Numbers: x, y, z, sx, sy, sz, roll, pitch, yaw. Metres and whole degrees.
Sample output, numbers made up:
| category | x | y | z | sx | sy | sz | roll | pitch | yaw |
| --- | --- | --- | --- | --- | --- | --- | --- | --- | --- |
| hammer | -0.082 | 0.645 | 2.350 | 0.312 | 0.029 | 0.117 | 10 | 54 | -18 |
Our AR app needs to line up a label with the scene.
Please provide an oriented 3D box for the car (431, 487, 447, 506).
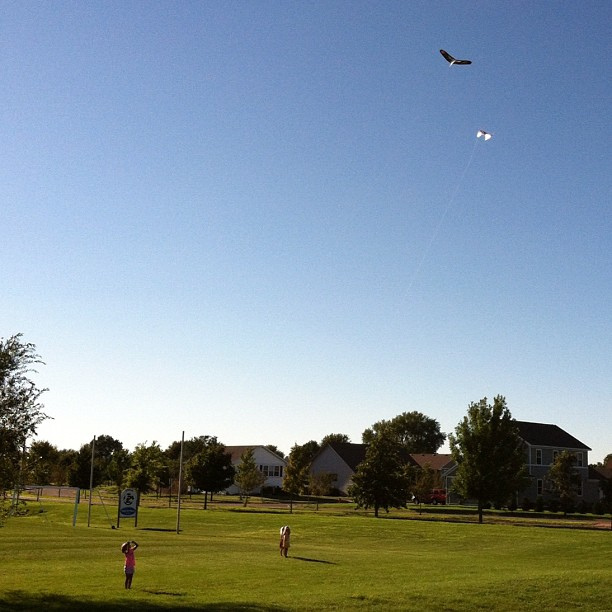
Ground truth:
| category | x | y | z | sx | sy | sz | roll | pitch | yaw |
| --- | --- | --- | --- | --- | --- | --- | --- | --- | --- |
| car | 16.667 | 23.698 | 86.350 | 1.335 | 1.758 | 2.655 | 6 | -12 | -22 |

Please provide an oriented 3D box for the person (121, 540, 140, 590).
| category | x | y | z | sx | sy | sz | roll | pitch | yaw |
| --- | --- | --- | --- | --- | --- | --- | --- | --- | --- |
| person | -5.400 | 7.893 | 21.100 | 0.402 | 1.269 | 2.008 | 5 | -17 | -13 |
